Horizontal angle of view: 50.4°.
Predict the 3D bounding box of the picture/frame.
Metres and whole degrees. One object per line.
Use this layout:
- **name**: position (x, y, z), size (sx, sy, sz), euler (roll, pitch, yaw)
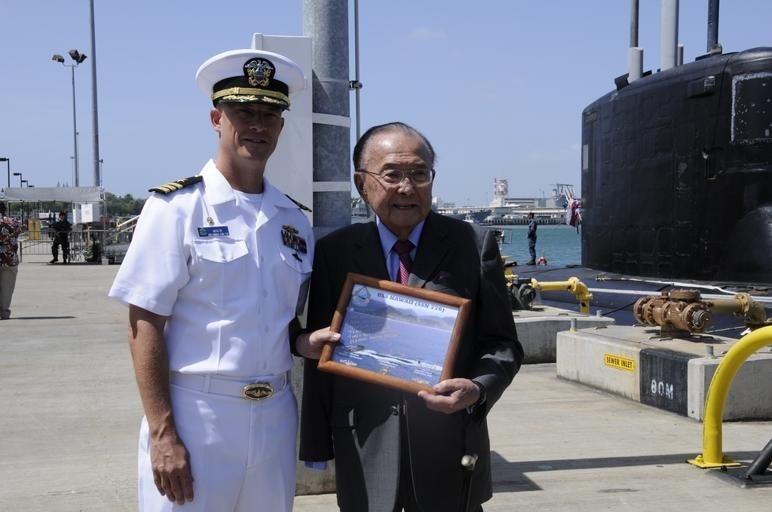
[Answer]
- **picture/frame**: position (0.068, 0.636, 6.435), size (1.052, 0.207, 1.322), euler (16, 31, 5)
